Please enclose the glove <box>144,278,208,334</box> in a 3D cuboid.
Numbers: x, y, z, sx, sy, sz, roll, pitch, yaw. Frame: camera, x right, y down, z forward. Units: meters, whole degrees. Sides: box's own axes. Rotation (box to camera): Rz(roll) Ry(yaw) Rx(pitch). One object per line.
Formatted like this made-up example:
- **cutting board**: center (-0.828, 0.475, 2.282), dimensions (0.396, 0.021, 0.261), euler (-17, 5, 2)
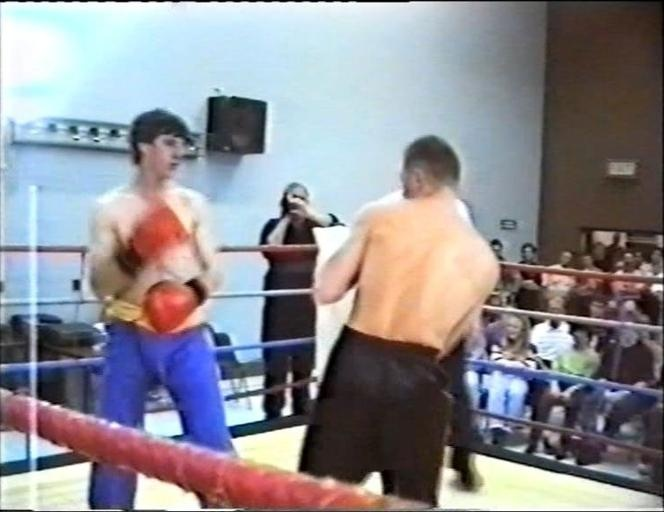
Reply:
- **glove**: center (-0.580, 0.183, 1.937), dimensions (0.169, 0.195, 0.078), euler (24, -17, -11)
